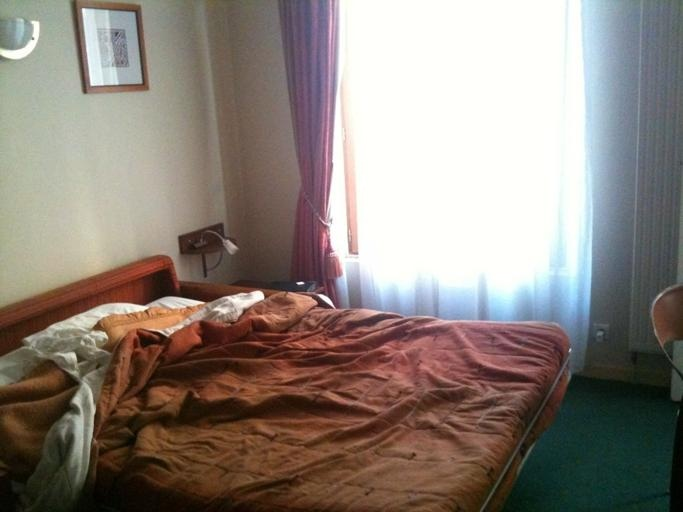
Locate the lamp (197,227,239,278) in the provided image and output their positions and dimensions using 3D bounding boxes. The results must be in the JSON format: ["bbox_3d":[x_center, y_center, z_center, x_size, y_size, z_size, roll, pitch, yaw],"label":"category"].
[{"bbox_3d":[-0.986,-0.019,3.959,0.311,0.345,0.430,-8,-7,-12],"label":"lamp"}]
